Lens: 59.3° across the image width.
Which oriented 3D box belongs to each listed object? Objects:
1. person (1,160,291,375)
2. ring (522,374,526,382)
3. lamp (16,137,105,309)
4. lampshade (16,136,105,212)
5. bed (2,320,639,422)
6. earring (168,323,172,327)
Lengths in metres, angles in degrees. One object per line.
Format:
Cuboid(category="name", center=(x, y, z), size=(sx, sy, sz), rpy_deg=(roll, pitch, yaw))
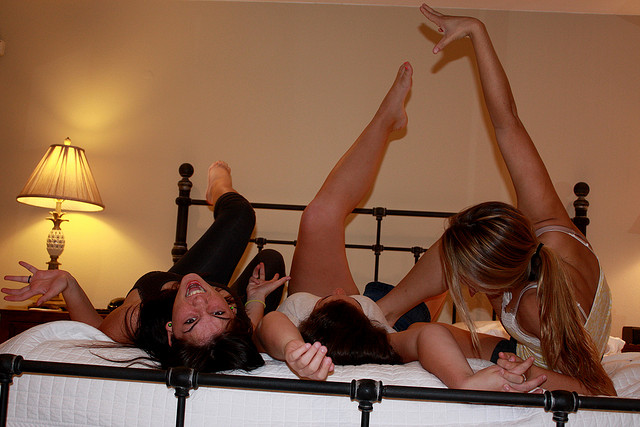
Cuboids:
Cuboid(category="person", center=(-0.481, 0.261, 2.577), size=(0.876, 0.344, 0.971), rpy_deg=(13, -16, 10))
Cuboid(category="ring", center=(0.680, 0.546, 1.881), size=(0.005, 0.022, 0.024), rpy_deg=(-8, -14, 35))
Cuboid(category="lamp", center=(-1.600, 0.026, 3.465), size=(0.524, 1.011, 0.486), rpy_deg=(10, -9, -43))
Cuboid(category="lampshade", center=(-1.580, -0.264, 3.493), size=(0.466, 0.377, 0.471), rpy_deg=(4, -3, 7))
Cuboid(category="bed", center=(-0.137, 0.612, 1.940), size=(2.060, 0.356, 0.438), rpy_deg=(2, -17, 12))
Cuboid(category="earring", center=(-0.593, 0.435, 2.202), size=(0.011, 0.012, 0.003), rpy_deg=(1, -4, 9))
